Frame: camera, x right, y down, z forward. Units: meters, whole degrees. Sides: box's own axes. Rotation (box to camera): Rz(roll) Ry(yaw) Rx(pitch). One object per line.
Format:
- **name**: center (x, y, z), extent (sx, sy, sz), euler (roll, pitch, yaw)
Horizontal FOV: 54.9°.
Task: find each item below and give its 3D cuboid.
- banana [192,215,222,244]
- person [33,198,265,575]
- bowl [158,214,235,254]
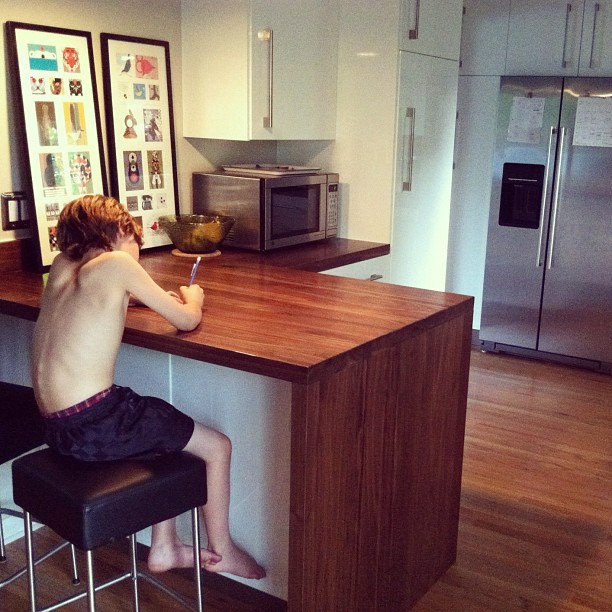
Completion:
- **banana**: center (-0.404, -0.308, 2.406), extent (0.084, 0.075, 0.097), euler (-2, 12, -5)
- **person**: center (-0.397, 0.223, 1.471), extent (0.507, 0.967, 0.384), euler (0, -1, -40)
- **bowl**: center (-0.452, -0.302, 2.437), extent (0.202, 0.100, 0.203), euler (0, 9, 0)
